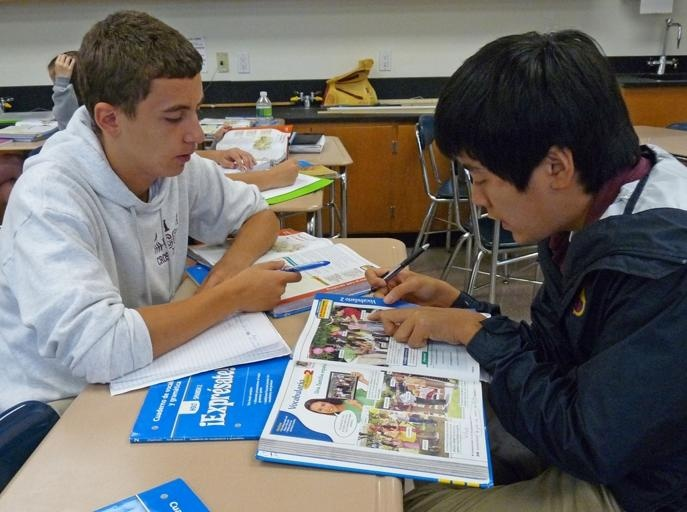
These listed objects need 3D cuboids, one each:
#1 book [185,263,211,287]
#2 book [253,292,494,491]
[{"bbox_3d":[-0.412,0.057,1.517,0.052,0.008,0.076,-5,29,-8],"label":"book"},{"bbox_3d":[0.069,0.258,0.983,0.267,0.051,0.387,4,27,5],"label":"book"}]
